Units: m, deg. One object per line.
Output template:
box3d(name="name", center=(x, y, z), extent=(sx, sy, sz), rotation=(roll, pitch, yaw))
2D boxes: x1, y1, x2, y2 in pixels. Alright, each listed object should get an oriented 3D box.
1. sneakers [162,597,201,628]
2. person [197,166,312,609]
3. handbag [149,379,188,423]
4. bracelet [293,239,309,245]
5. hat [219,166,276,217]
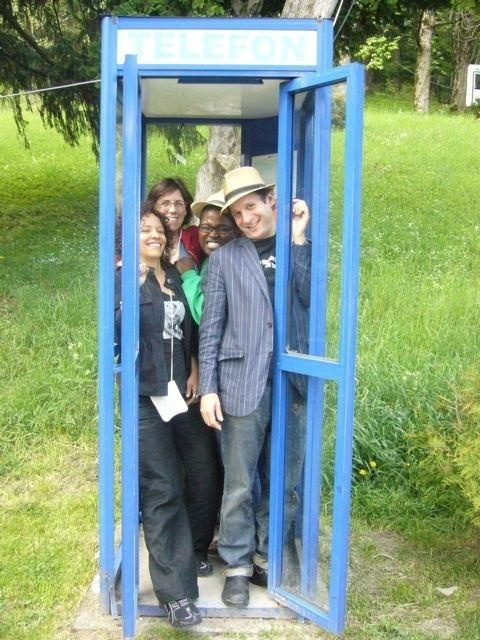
box3d(name="sneakers", center=(-0.220, 1.127, 2.506), extent=(0.064, 0.086, 0.180), rotation=(-3, -17, -28))
box3d(name="person", center=(0.049, 0.286, 2.747), extent=(0.443, 1.835, 0.368), rotation=(0, 6, -4))
box3d(name="handbag", center=(-0.301, 0.357, 2.693), extent=(0.134, 0.184, 0.106), rotation=(-4, 8, -31))
box3d(name="bracelet", center=(0.245, -0.303, 2.589), extent=(0.028, 0.028, 0.032), rotation=(-2, 3, -19))
box3d(name="hat", center=(0.002, -0.548, 2.752), extent=(0.159, 0.112, 0.189), rotation=(-26, 2, -12))
